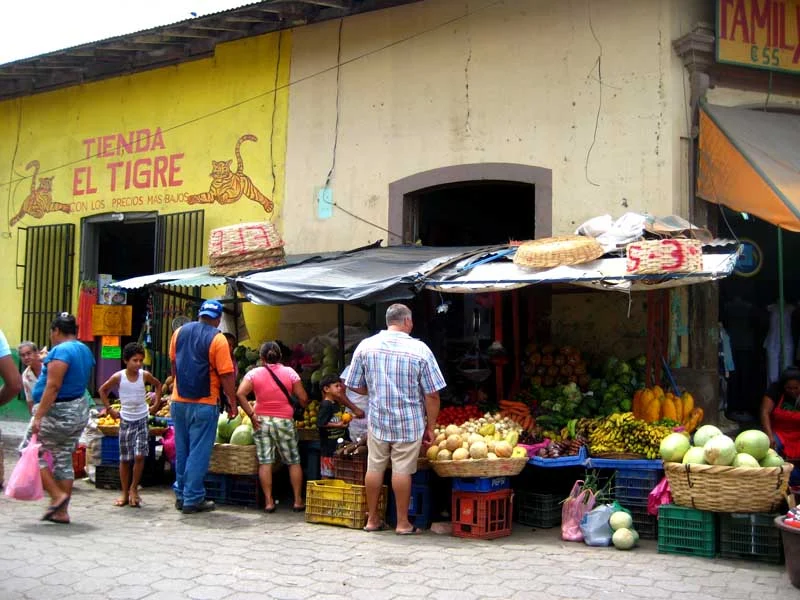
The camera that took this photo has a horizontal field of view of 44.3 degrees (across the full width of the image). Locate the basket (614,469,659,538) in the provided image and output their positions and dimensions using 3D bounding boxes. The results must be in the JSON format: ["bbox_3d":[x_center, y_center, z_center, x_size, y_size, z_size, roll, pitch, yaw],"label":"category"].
[{"bbox_3d":[2.617,2.256,10.782,0.414,0.719,0.735,0,-1,23],"label":"basket"}]

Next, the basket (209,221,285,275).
[{"bbox_3d":[-2.183,-0.701,13.781,0.818,0.769,0.840,0,8,-38],"label":"basket"}]

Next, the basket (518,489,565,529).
[{"bbox_3d":[1.637,2.436,11.517,0.412,0.277,0.423,-2,-3,27],"label":"basket"}]

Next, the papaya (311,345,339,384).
[{"bbox_3d":[-1.014,0.881,13.396,0.292,0.564,0.284,5,-16,25],"label":"papaya"}]

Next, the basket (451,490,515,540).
[{"bbox_3d":[0.918,2.299,10.938,0.464,0.593,0.501,-1,-2,38],"label":"basket"}]

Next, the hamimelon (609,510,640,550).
[{"bbox_3d":[2.386,2.466,10.573,0.229,0.409,0.185,18,-51,-31],"label":"hamimelon"}]

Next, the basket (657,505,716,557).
[{"bbox_3d":[3.004,2.420,10.277,0.584,0.484,0.183,4,10,17],"label":"basket"}]

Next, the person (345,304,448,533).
[{"bbox_3d":[0.057,1.295,11.095,0.926,2.503,1.112,-1,-2,18],"label":"person"}]

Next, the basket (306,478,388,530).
[{"bbox_3d":[-0.666,2.277,11.618,1.041,0.467,0.957,5,3,20],"label":"basket"}]

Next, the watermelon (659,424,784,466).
[{"bbox_3d":[3.385,1.559,10.338,1.257,0.406,0.548,4,11,15],"label":"watermelon"}]

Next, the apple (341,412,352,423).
[{"bbox_3d":[-0.656,1.455,12.103,0.100,0.105,0.098,0,2,3],"label":"apple"}]

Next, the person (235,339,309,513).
[{"bbox_3d":[-1.513,1.538,11.703,0.782,1.988,0.469,-1,10,-7],"label":"person"}]

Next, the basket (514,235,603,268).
[{"bbox_3d":[1.845,-0.525,11.456,1.021,0.358,0.393,2,10,8],"label":"basket"}]

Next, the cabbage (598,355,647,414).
[{"bbox_3d":[2.772,1.063,12.208,0.499,0.696,0.519,1,3,-21],"label":"cabbage"}]

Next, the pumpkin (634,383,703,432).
[{"bbox_3d":[3.206,1.299,11.728,0.855,0.551,0.413,14,-2,12],"label":"pumpkin"}]

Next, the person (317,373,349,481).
[{"bbox_3d":[-0.773,1.507,11.850,0.428,1.144,0.388,6,4,22],"label":"person"}]

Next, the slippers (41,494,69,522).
[{"bbox_3d":[-3.796,2.281,10.745,0.328,0.314,0.171,3,10,13],"label":"slippers"}]

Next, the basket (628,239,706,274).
[{"bbox_3d":[2.900,-0.459,10.757,0.790,0.402,0.190,3,10,14],"label":"basket"}]

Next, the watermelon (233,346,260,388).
[{"bbox_3d":[-2.276,0.967,14.583,0.462,0.292,0.476,5,34,1],"label":"watermelon"}]

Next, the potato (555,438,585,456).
[{"bbox_3d":[1.990,1.710,11.410,0.360,0.156,0.191,3,11,10],"label":"potato"}]

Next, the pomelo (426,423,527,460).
[{"bbox_3d":[0.859,1.628,11.069,1.001,0.357,0.800,1,4,0],"label":"pomelo"}]
